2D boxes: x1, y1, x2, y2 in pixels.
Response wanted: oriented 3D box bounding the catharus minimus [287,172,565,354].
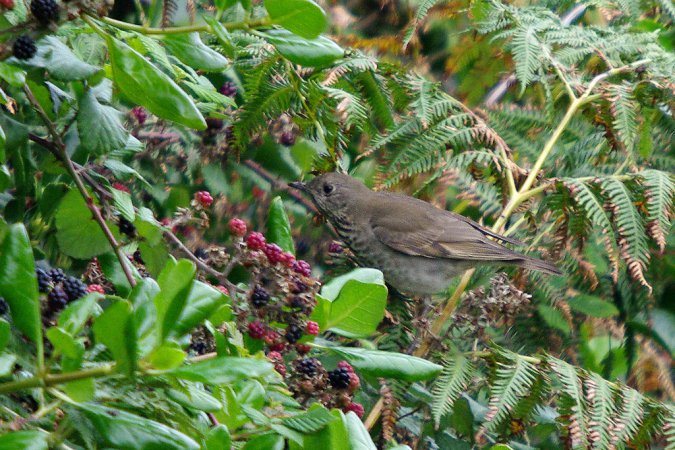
[{"bbox_3d":[0.537,0.125,5.377,1.617,0.520,0.972,-5,95,-12],"label":"catharus minimus"}]
